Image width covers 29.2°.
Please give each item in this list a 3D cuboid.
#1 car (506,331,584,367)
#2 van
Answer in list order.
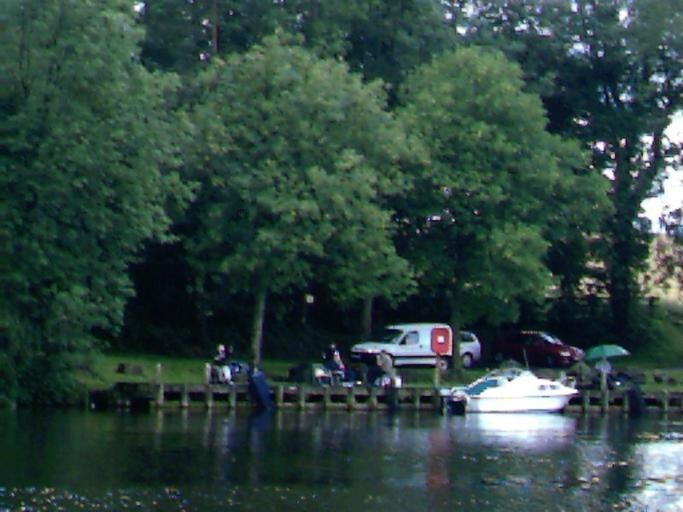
[{"bbox_3d":[11.168,5.275,74.155,1.825,1.445,4.063,-2,0,-40],"label":"car"},{"bbox_3d":[2.769,4.761,69.362,4.136,2.318,2.520,3,-4,-11],"label":"van"}]
